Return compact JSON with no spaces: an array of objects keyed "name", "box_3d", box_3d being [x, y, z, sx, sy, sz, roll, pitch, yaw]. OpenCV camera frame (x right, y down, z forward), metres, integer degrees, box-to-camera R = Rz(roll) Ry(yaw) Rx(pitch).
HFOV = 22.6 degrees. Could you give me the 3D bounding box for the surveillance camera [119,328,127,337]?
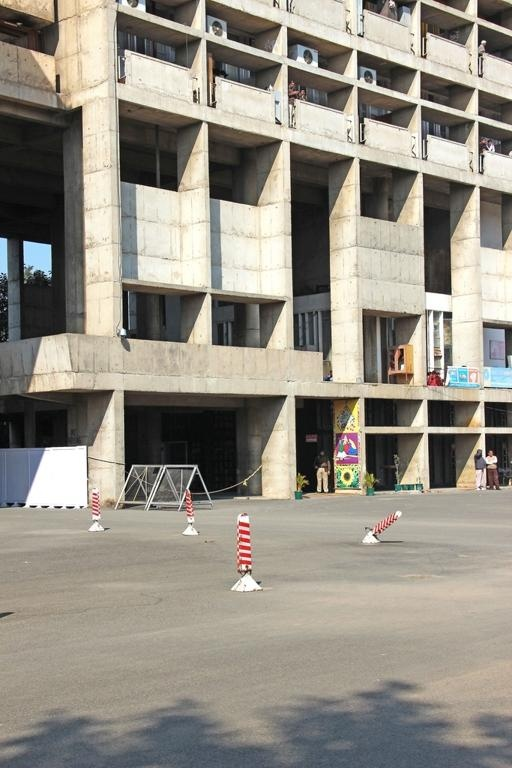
[{"name":"surveillance camera","box_3d":[-3.861,-1.474,37.257,0.173,0.472,0.223,0,2,4]}]
